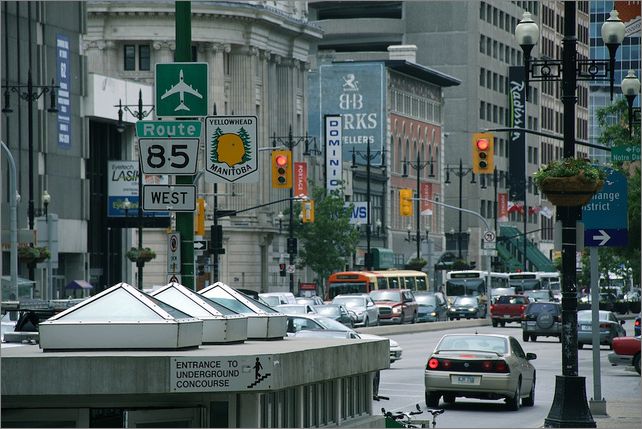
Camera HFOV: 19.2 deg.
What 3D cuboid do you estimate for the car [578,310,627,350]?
[{"bbox_3d":[14.120,5.815,96.974,1.821,1.380,4.074,-1,-1,16],"label":"car"}]

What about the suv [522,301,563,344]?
[{"bbox_3d":[12.016,5.566,102.599,1.485,1.404,2.795,0,2,11],"label":"suv"}]

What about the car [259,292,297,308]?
[{"bbox_3d":[-2.480,4.615,105.900,1.942,0.805,6.871,0,-3,-1],"label":"car"}]

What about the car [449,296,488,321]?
[{"bbox_3d":[9.203,5.771,119.955,2.297,1.397,1.733,0,-3,2],"label":"car"}]

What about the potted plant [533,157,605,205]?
[{"bbox_3d":[10.196,-1.359,77.395,1.859,1.522,2.176,3,-11,-10],"label":"potted plant"}]

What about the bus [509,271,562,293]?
[{"bbox_3d":[15.165,4.580,133.518,1.392,1.290,4.337,-2,-6,22],"label":"bus"}]

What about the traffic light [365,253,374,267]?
[{"bbox_3d":[3.188,2.992,129.617,0.744,1.456,0.772,0,0,0],"label":"traffic light"}]
